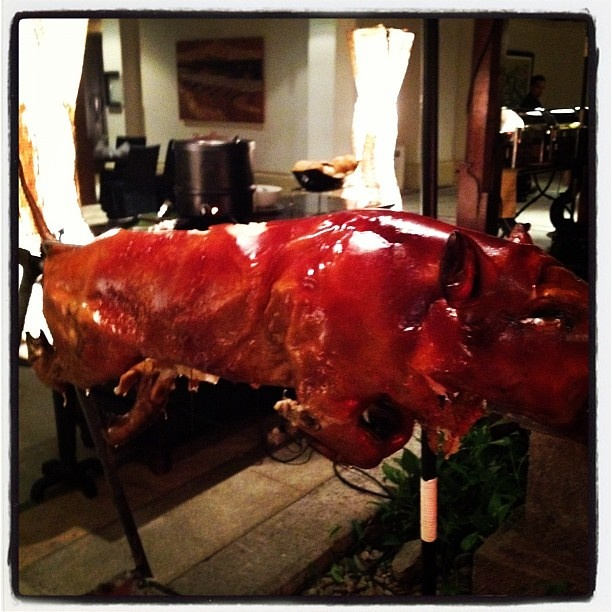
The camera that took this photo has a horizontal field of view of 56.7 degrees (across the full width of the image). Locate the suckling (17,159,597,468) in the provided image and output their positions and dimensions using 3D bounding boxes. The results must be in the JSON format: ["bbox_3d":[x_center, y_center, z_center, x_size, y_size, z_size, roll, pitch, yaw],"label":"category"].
[{"bbox_3d":[-0.217,-0.059,1.853,1.969,0.835,0.508,3,24,15],"label":"suckling"}]

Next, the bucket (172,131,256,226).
[{"bbox_3d":[-0.239,-0.329,1.486,0.233,0.179,0.221,0,13,0],"label":"bucket"}]
